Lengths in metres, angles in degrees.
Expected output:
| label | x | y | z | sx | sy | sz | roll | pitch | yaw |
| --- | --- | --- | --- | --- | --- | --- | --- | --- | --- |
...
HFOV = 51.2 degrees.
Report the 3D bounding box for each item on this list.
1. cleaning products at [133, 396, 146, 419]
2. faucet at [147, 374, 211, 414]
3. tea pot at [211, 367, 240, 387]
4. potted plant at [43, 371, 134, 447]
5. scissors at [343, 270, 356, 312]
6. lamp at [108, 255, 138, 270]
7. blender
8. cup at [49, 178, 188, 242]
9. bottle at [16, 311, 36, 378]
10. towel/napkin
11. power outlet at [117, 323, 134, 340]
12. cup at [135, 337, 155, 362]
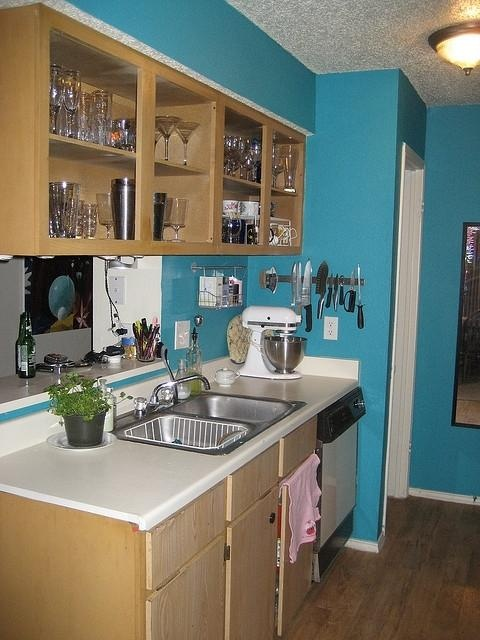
| label | x | y | z | sx | sy | sz | roll | pitch | yaw |
| --- | --- | --- | --- | --- | --- | --- | --- | --- | --- |
| cleaning products | -0.350 | 0.300 | 1.759 | 0.039 | 0.060 | 0.079 | 2 | 6 | -15 |
| faucet | -0.228 | 0.263 | 1.990 | 0.135 | 0.117 | 0.364 | 7 | 6 | 26 |
| tea pot | -0.062 | 0.268 | 2.417 | 0.092 | 0.072 | 0.074 | 3 | 4 | 13 |
| potted plant | -0.422 | 0.234 | 1.442 | 0.215 | 0.231 | 0.171 | -1 | 8 | -7 |
| scissors | 0.601 | -0.146 | 2.730 | 0.065 | 0.207 | 0.039 | 5 | 6 | 21 |
| lamp | -0.513 | -0.247 | 2.149 | 0.139 | 0.058 | 0.100 | 5 | 6 | 2 |
| blender | 0.151 | 0.105 | 2.694 | 0.320 | 0.390 | 0.207 | 3 | 6 | 12 |
| cup | -0.310 | -0.289 | 1.335 | 0.094 | 0.156 | 0.389 | 4 | 7 | 31 |
| bottle | -0.743 | 0.084 | 1.739 | 0.057 | 0.223 | 0.116 | 1 | 6 | -25 |
| towel/napkin | 0.222 | 0.698 | 1.886 | 0.062 | 0.373 | 0.484 | 0 | 11 | 15 |
| power outlet | -0.506 | 0.046 | 2.221 | 0.082 | 0.096 | 0.064 | 2 | 6 | 11 |
| cup | -0.388 | 0.118 | 2.067 | 0.075 | 0.090 | 0.083 | 2 | 5 | -4 |
